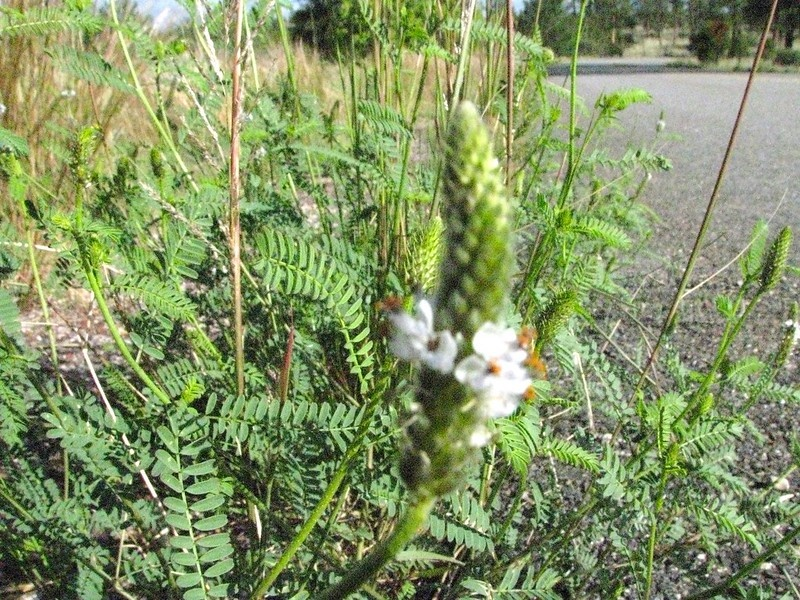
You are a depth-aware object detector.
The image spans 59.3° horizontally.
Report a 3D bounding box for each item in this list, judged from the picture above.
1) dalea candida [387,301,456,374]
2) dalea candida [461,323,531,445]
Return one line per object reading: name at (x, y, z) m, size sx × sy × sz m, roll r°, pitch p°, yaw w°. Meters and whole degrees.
dalea candida at (0.059, 0.093, 1.837) m, size 0.195 × 0.148 × 0.127 m, roll 7°, pitch 23°, yaw 7°
dalea candida at (0.240, 0.188, 1.867) m, size 0.183 × 0.309 × 0.100 m, roll 17°, pitch 4°, yaw -7°
